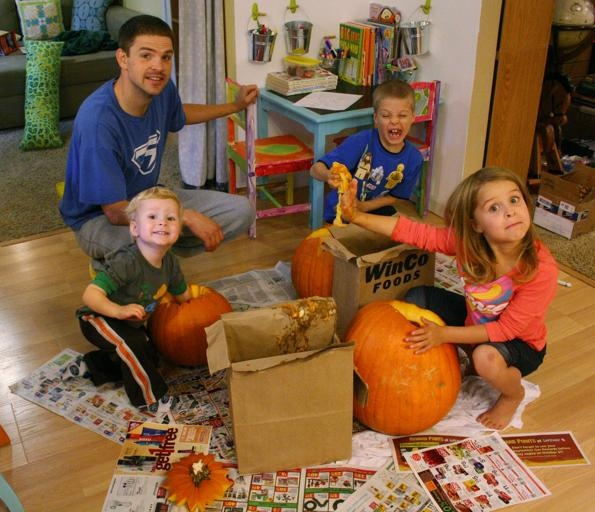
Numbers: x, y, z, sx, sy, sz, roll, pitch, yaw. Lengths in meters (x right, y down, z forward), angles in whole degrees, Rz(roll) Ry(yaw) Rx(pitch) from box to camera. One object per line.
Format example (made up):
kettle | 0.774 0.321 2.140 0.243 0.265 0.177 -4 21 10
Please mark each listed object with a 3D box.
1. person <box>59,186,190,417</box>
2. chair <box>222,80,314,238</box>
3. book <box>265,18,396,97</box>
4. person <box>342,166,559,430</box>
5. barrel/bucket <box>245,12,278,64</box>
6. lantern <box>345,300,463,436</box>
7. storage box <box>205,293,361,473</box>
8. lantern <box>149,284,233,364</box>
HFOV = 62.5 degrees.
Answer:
person | -0.555 0.132 1.755 0.397 0.696 0.422 12 29 22
chair | -0.177 -0.574 2.822 0.512 0.817 0.520 -11 52 -14
book | 0.132 -1.234 3.013 0.783 0.424 0.457 -15 41 -18
person | 0.521 0.136 1.741 0.719 0.834 0.504 8 24 28
barrel/bucket | -0.217 -1.290 2.874 0.199 0.225 0.143 30 39 27
lantern | 0.341 0.381 1.656 0.346 0.391 0.330 -7 27 -15
storage box | -0.057 0.392 1.485 0.400 0.465 0.254 -5 27 -11
lantern | -0.419 0.262 1.946 0.308 0.256 0.296 -14 3 -28
